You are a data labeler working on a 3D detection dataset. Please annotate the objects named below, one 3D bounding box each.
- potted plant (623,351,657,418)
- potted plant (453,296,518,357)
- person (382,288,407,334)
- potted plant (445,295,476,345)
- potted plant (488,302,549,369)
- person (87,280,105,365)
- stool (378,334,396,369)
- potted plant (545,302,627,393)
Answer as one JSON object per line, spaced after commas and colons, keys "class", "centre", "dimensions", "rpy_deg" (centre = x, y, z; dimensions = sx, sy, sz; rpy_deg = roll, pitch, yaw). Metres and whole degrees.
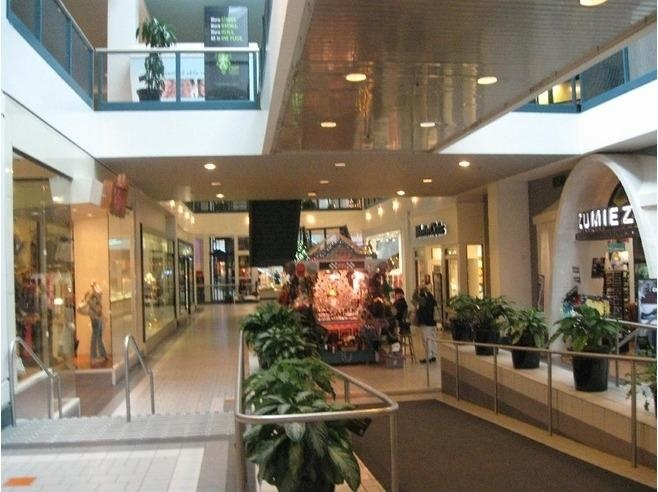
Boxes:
{"class": "potted plant", "centre": [3.654, 1.556, 6.104], "dimensions": [0.342, 0.637, 1.154], "rpy_deg": [-4, -4, 29]}
{"class": "potted plant", "centre": [2.872, 1.368, 9.707], "dimensions": [0.852, 1.022, 1.195], "rpy_deg": [0, -7, -6]}
{"class": "person", "centre": [1.604, 1.497, 12.122], "dimensions": [0.436, 1.055, 1.698], "rpy_deg": [-3, -4, 8]}
{"class": "potted plant", "centre": [2.718, 1.395, 10.303], "dimensions": [0.874, 0.927, 0.667], "rpy_deg": [-2, 2, -43]}
{"class": "potted plant", "centre": [2.918, 1.479, 8.711], "dimensions": [0.814, 0.878, 0.686], "rpy_deg": [-14, -10, 41]}
{"class": "person", "centre": [-4.471, 1.461, 9.971], "dimensions": [0.300, 1.528, 0.459], "rpy_deg": [-1, -4, -21]}
{"class": "stool", "centre": [1.292, 2.243, 11.392], "dimensions": [0.344, 0.668, 0.683], "rpy_deg": [-2, -4, 4]}
{"class": "potted plant", "centre": [3.547, 1.339, 7.107], "dimensions": [1.007, 1.044, 0.979], "rpy_deg": [4, -6, -18]}
